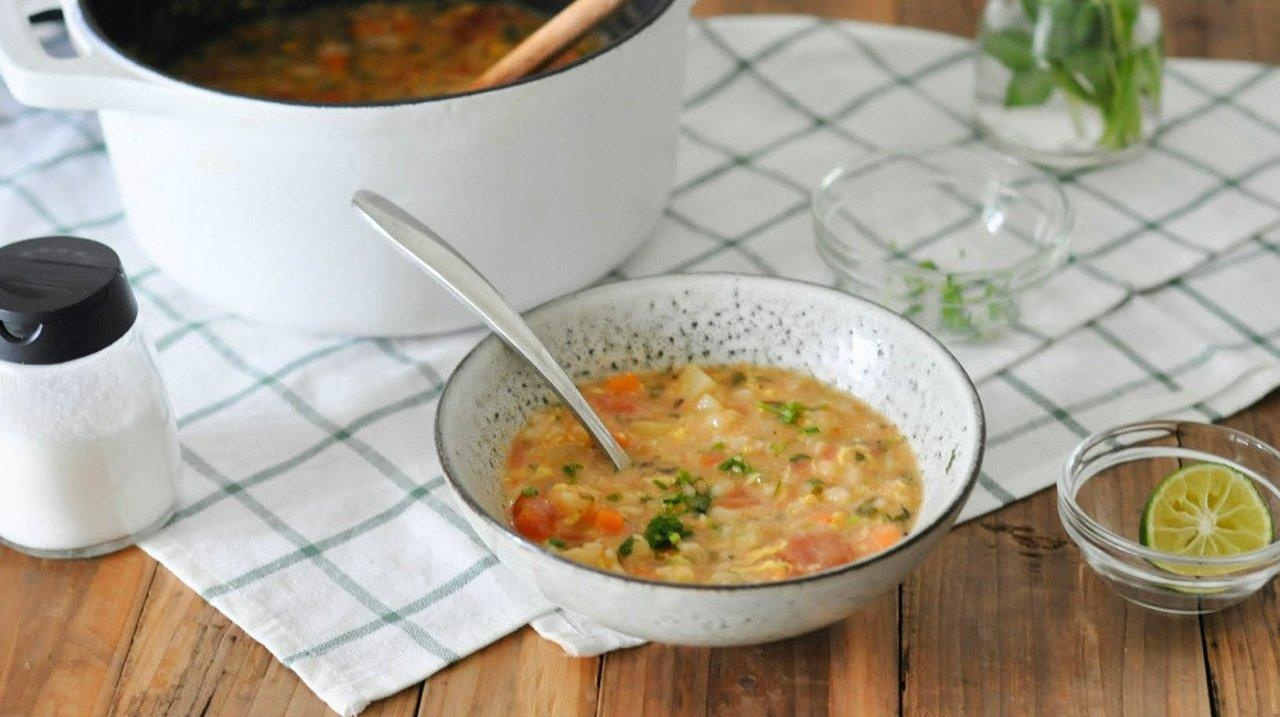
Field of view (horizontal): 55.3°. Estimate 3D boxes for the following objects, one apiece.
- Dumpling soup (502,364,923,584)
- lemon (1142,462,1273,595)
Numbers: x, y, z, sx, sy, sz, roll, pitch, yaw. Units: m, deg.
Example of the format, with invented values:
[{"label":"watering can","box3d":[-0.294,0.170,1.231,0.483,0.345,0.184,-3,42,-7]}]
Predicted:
[{"label":"Dumpling soup","box3d":[0.103,0.149,1.758,0.602,0.078,0.386,1,57,3]},{"label":"lemon","box3d":[0.816,0.230,1.750,0.139,0.130,0.190,-3,88,25]}]
